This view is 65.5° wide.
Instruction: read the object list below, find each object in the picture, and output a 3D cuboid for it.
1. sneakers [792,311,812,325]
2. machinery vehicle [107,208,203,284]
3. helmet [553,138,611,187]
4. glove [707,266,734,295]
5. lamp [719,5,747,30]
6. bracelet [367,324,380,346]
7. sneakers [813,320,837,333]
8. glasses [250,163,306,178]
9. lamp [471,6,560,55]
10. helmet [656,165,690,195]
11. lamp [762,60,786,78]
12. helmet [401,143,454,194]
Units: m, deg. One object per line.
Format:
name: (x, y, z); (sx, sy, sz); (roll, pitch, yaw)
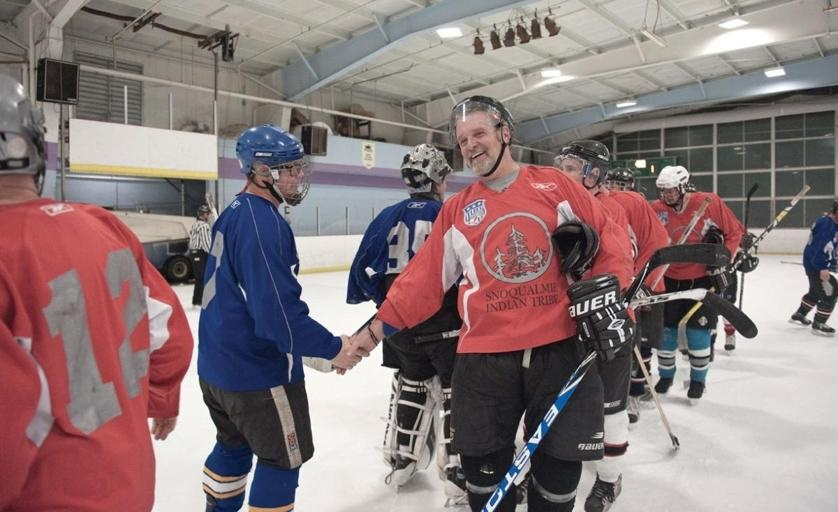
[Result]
sneakers: (5.876, 0.969, 10.126); (0.138, 0.176, 0.348); (-5, 3, -26)
machinery vehicle: (-5.633, -0.185, 14.307); (2.039, 0.917, 1.399); (-1, 2, -41)
helmet: (1.664, -0.919, 6.584); (0.478, 0.475, 0.420); (5, 2, -6)
glove: (3.375, 0.271, 7.334); (0.369, 0.374, 0.089); (-2, 0, -32)
lamp: (6.996, -5.374, 14.540); (0.600, 0.549, 1.173); (4, 7, 27)
bracelet: (-0.381, 0.652, 5.324); (0.033, 0.134, 0.137); (-32, -2, 17)
sneakers: (5.954, 1.055, 9.669); (0.136, 0.165, 0.366); (-8, 9, -42)
glasses: (-1.161, -0.705, 5.409); (0.245, 0.085, 0.191); (-8, -1, 9)
lamp: (2.008, -4.655, 13.792); (1.936, 0.715, 0.321); (-2, -14, -2)
helmet: (3.071, -0.922, 7.949); (0.387, 0.392, 0.311); (-4, 2, -10)
lamp: (10.046, -5.251, 18.436); (0.497, 0.386, 0.585); (0, 6, 0)
helmet: (0.040, -0.847, 6.387); (0.379, 0.502, 0.515); (2, 9, 29)
